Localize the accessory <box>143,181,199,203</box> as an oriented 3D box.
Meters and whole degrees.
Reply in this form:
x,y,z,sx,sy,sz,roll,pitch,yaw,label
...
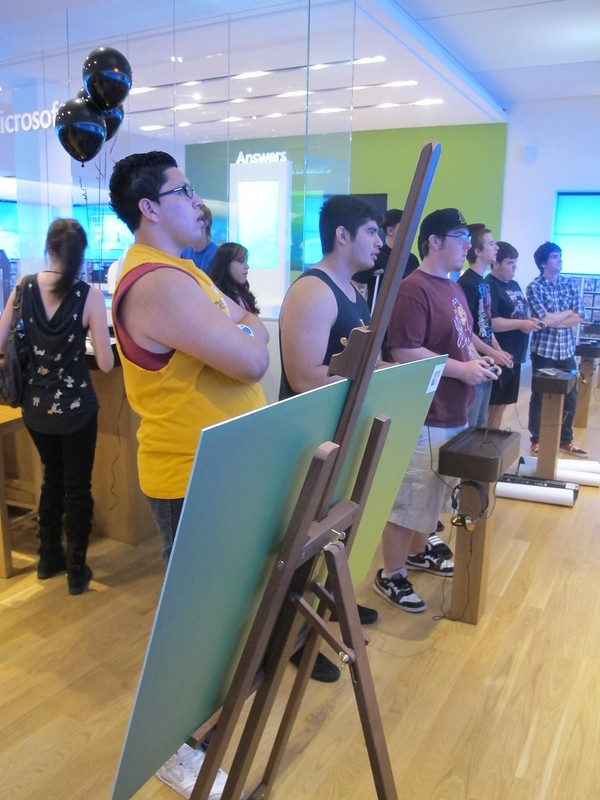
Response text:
x,y,z,sx,sy,sz,roll,pitch,yaw,label
-0.282,-0.450,1.358,0.073,0.022,0.058,-18,22,-11,accessory

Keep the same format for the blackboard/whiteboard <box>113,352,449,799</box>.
x,y,z,sx,sy,sz,roll,pitch,yaw,label
-0.002,0.373,1.228,0.050,0.760,1.100,26,27,20,blackboard/whiteboard

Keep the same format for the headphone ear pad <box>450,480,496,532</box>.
x,y,z,sx,sy,sz,roll,pitch,yaw,label
0.638,0.369,2.365,0.169,0.216,0.084,0,9,-35,headphone ear pad
